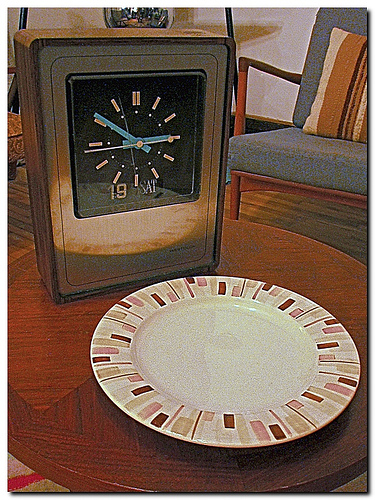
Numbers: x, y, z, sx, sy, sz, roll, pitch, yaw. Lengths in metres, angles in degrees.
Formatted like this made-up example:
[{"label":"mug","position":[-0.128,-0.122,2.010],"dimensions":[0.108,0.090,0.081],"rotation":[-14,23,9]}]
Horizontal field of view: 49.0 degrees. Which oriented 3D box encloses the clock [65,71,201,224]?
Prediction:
[{"label":"clock","position":[-0.077,-0.142,0.542],"dimensions":[0.194,0.184,0.014],"rotation":[-11,30,-27]}]
